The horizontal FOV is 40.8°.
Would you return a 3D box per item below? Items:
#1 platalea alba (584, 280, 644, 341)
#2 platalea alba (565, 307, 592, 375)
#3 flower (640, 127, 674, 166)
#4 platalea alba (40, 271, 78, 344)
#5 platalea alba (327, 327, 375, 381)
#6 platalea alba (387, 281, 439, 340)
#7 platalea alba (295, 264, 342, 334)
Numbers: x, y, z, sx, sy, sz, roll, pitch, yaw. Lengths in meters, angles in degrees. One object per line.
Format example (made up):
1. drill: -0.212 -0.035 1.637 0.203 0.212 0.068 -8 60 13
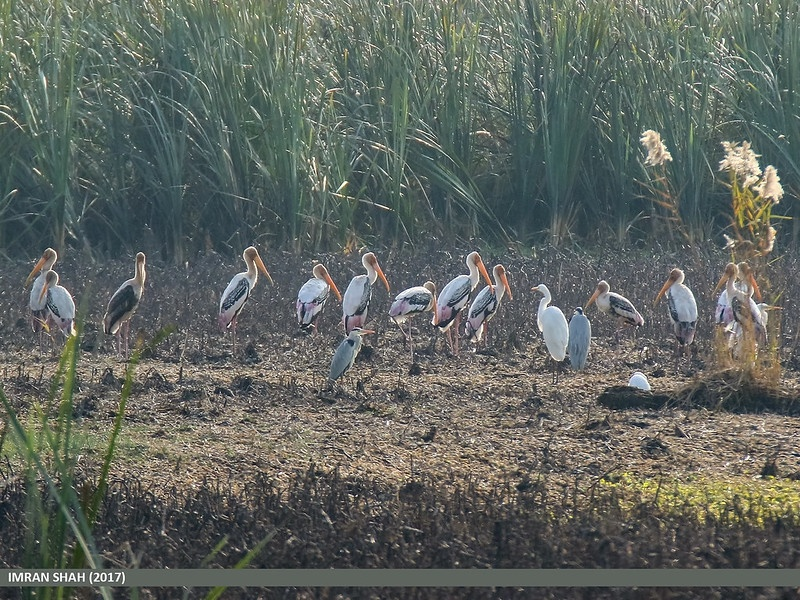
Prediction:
1. platalea alba: 2.523 0.083 12.532 0.736 0.585 0.264 10 -2 -9
2. platalea alba: 1.863 0.423 11.114 0.195 0.710 0.259 3 2 -6
3. flower: 2.630 -1.575 11.053 0.244 0.433 1.023 4 15 13
4. platalea alba: -3.754 0.053 11.848 0.439 0.663 0.223 21 19 -11
5. platalea alba: -0.540 0.569 10.684 0.227 0.501 0.437 5 14 17
6. platalea alba: 0.140 0.118 12.489 0.617 0.751 0.358 1 10 -17
7. platalea alba: -0.944 0.005 12.783 0.281 0.923 0.890 11 15 26
